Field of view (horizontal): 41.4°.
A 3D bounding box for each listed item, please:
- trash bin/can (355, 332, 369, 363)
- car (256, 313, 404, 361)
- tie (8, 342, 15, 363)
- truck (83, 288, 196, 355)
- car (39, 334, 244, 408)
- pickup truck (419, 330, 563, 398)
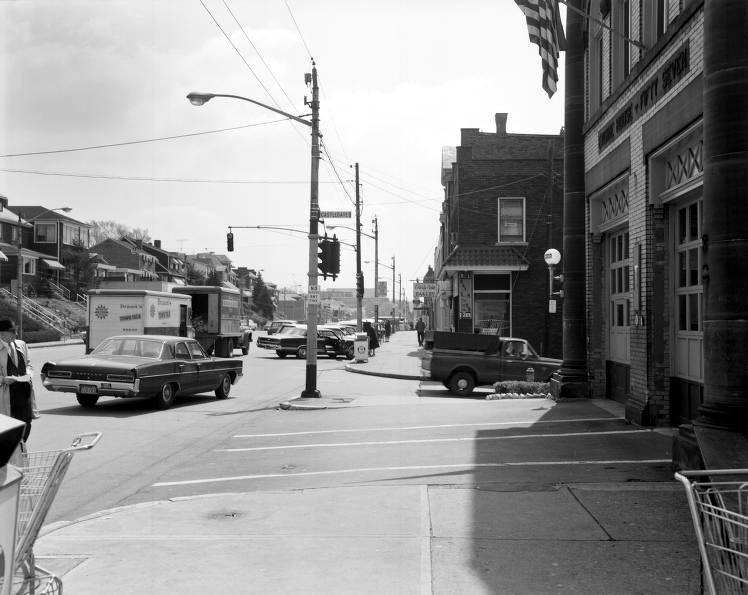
[{"bbox_3d":[-0.817,1.811,36.275,0.741,1.500,0.811,0,-5,-3],"label":"trash bin/can"},{"bbox_3d":[-2.662,1.802,41.365,3.488,1.251,2.596,-2,4,-19],"label":"car"},{"bbox_3d":[-4.821,0.721,13.115,0.081,0.231,0.102,-2,1,-19],"label":"tie"},{"bbox_3d":[-7.603,0.616,32.158,1.703,2.055,3.446,1,2,13],"label":"truck"},{"bbox_3d":[-4.709,1.634,20.373,2.851,1.758,3.613,0,-1,8],"label":"car"},{"bbox_3d":[2.722,1.692,24.261,3.041,1.465,1.559,-2,0,-8],"label":"pickup truck"}]
